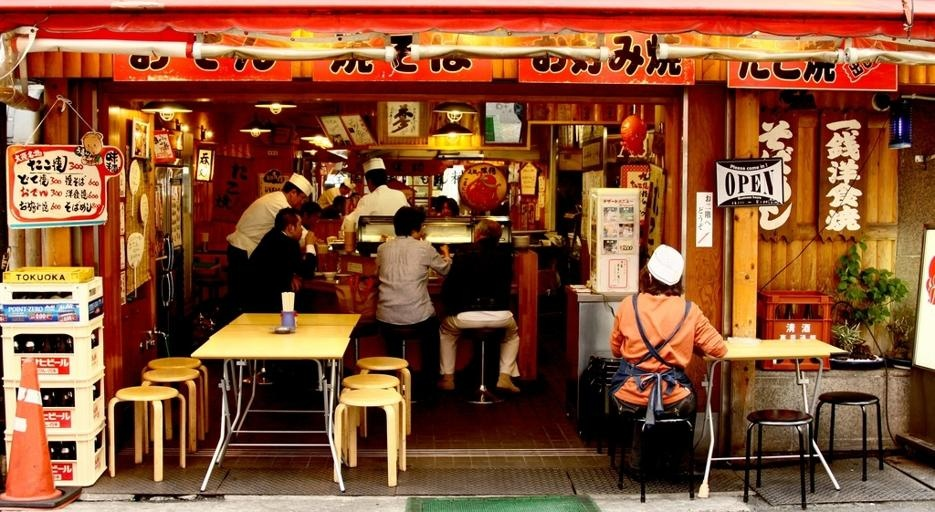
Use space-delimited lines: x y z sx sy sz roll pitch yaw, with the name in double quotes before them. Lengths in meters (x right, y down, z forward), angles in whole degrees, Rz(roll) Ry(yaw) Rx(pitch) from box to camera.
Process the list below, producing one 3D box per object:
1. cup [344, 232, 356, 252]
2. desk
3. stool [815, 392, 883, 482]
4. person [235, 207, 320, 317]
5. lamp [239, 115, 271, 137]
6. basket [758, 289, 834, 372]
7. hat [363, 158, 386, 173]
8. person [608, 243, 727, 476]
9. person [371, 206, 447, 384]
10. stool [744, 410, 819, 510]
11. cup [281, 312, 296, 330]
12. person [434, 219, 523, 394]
"cup" -1.701 -0.227 13.216 0.184 0.298 0.140 -2 4 -17
"desk" 3.527 1.831 10.742 2.073 1.635 1.719 -1 -1 -1
"stool" 4.387 1.948 10.296 0.862 0.676 0.801 -1 -1 7
"person" -2.491 0.027 11.962 0.972 1.352 0.539 -3 4 -20
"lamp" -4.212 -2.594 17.806 0.697 0.372 0.640 1 8 -1
"basket" 3.986 0.878 11.067 1.058 0.842 0.988 1 1 7
"hat" -1.520 -1.474 14.456 0.334 0.156 0.400 -4 5 -19
"person" 2.146 0.855 9.791 1.148 1.951 0.469 -1 3 7
"person" -0.738 0.551 12.002 0.951 2.412 0.434 -2 3 -6
"stool" 3.532 2.176 10.173 0.717 1.003 1.181 0 4 20
"cup" -2.088 0.740 10.499 0.160 0.198 0.112 -2 4 -15
"person" 0.157 0.690 12.181 1.081 2.382 0.518 -2 3 -3
